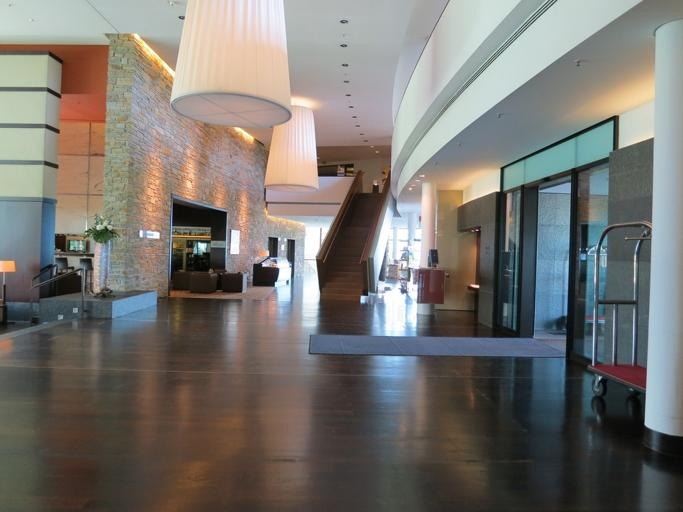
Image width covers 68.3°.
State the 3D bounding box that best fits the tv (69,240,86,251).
[{"bbox_3d":[-7.526,-0.293,14.421,0.569,0.402,0.296,0,-4,-3],"label":"tv"}]

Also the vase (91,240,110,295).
[{"bbox_3d":[-4.783,0.227,10.048,0.298,1.016,0.455,-1,6,-27],"label":"vase"}]

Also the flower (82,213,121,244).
[{"bbox_3d":[-4.805,-0.455,10.116,0.736,0.650,0.748,3,-7,3],"label":"flower"}]
